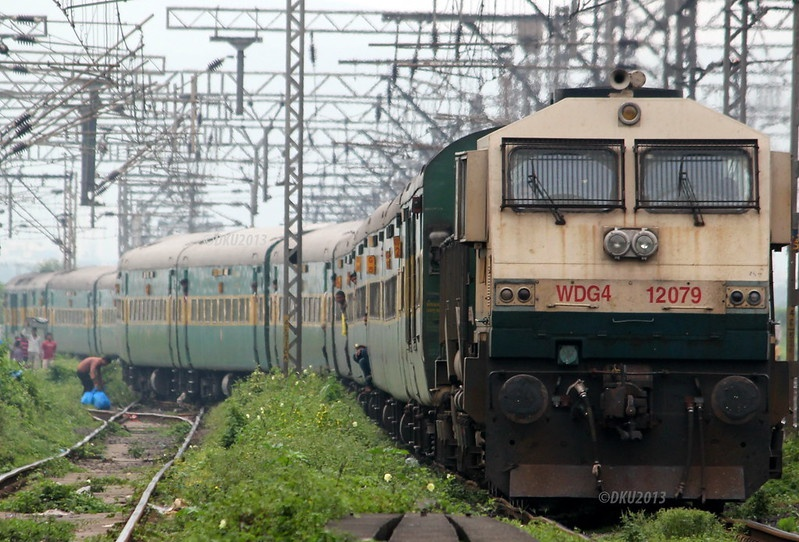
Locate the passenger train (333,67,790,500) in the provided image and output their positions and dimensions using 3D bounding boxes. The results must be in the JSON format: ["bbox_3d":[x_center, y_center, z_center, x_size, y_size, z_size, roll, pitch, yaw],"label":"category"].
[{"bbox_3d":[1.958,0.344,17.126,3.531,6.021,6.605,-1,-2,-36],"label":"passenger train"}]
